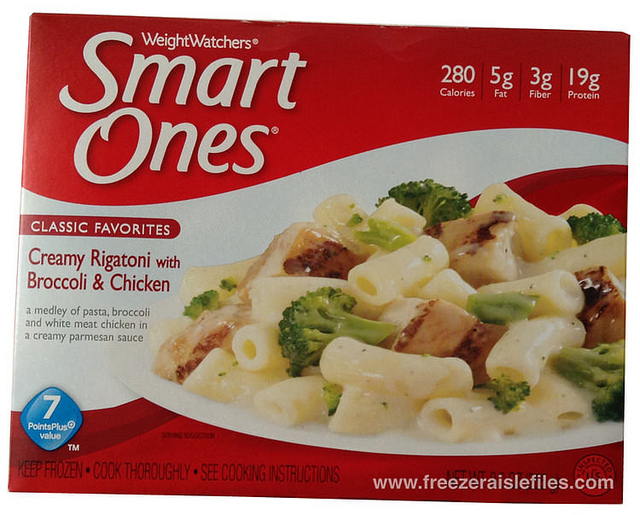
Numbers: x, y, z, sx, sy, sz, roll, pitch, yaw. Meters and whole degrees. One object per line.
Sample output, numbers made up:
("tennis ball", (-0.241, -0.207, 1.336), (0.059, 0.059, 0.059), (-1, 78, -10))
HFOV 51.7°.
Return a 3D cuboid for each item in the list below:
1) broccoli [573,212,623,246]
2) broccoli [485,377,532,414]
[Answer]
("broccoli", (2.017, -0.223, 4.782), (0.326, 0.227, 0.074), (-4, 1, 14))
("broccoli", (1.268, 0.919, 4.450), (0.300, 0.244, 0.076), (-4, 0, 7))
